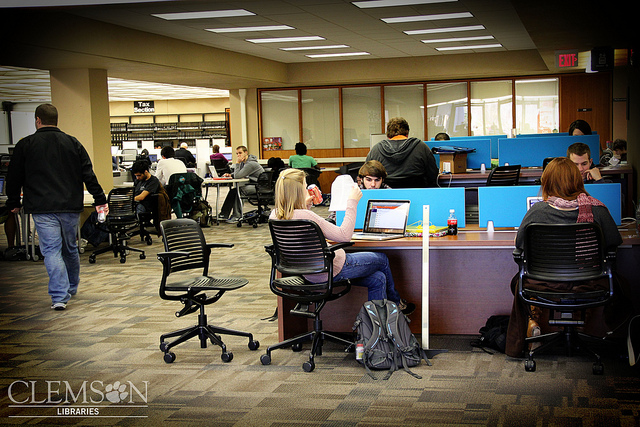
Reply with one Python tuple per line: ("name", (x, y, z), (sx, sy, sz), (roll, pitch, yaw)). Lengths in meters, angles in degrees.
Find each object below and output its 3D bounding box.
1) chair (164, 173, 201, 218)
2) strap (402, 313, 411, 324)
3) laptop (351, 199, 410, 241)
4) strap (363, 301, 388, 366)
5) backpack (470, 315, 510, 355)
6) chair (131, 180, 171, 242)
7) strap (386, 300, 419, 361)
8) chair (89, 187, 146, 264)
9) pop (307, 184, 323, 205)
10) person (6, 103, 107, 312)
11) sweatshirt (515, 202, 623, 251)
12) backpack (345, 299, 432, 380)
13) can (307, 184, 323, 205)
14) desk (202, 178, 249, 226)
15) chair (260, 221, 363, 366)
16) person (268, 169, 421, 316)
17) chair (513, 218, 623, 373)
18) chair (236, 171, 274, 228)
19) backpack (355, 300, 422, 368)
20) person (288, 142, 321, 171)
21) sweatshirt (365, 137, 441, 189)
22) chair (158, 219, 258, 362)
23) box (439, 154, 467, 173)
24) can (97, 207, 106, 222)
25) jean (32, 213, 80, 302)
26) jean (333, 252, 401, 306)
("chair", (-2.744, -0.371, 9.718), (0.750, 0.812, 0.358), (2, 6, -30))
("strap", (0.682, 0.813, 3.787), (0.020, 0.074, 0.052), (-42, 8, -18))
("laptop", (0.485, 0.066, 4.103), (0.432, 0.304, 0.448), (3, 11, 38))
("strap", (0.423, 0.914, 3.709), (0.186, 0.432, 0.204), (-1, 9, 7))
("backpack", (1.406, 0.995, 4.026), (0.296, 0.218, 0.307), (1, 9, 20))
("chair", (-3.300, -0.029, 8.750), (0.757, 1.013, 0.718), (-7, 8, -33))
("strap", (0.585, 0.915, 3.688), (0.410, 0.362, 0.276), (-2, -1, 4))
("chair", (-3.197, 0.160, 7.500), (0.824, 1.088, 0.830), (2, 7, 25))
("pop", (-0.049, -0.170, 4.310), (0.104, 0.180, 0.068), (-27, 1, 10))
("person", (-2.890, -0.089, 5.324), (0.976, 2.218, 0.610), (-6, 10, -23))
("sweatshirt", (1.879, 0.067, 3.674), (0.793, 0.296, 0.434), (0, 16, 26))
("backpack", (0.492, 0.945, 3.688), (0.553, 0.524, 0.198), (-2, -20, -7))
("can", (-0.044, -0.179, 4.302), (0.108, 0.183, 0.067), (-21, -6, 4))
("desk", (-2.250, -0.358, 10.720), (0.961, 0.664, 0.924), (9, -4, -12))
("chair", (-0.053, 0.592, 3.930), (0.774, 1.084, 0.815), (-5, -5, 37))
("person", (0.284, 0.302, 4.112), (1.329, 1.290, 0.707), (-5, 0, -28))
("chair", (1.941, 0.547, 3.705), (0.828, 1.028, 0.798), (-4, -3, 12))
("chair", (-1.357, -0.351, 10.567), (0.875, 1.128, 0.862), (-4, 0, 25))
("backpack", (0.500, 0.938, 3.774), (0.479, 0.461, 0.177), (-1, -15, -6))
("person", (-0.411, -1.383, 11.575), (0.621, 0.603, 1.107), (-2, 9, -2))
("sweatshirt", (1.145, -0.619, 6.635), (0.973, 0.866, 0.534), (-3, 23, 24))
("chair", (-1.025, 0.626, 4.130), (0.824, 1.087, 0.834), (1, 1, 18))
("box", (2.310, -0.949, 8.445), (0.571, 0.347, 0.316), (-6, 9, -44))
("can", (-2.501, 0.018, 5.554), (0.078, 0.184, 0.311), (-6, 10, -24))
("jean", (-2.874, 0.477, 5.386), (0.307, 1.006, 0.429), (1, 10, 23))
("jean", (0.395, 0.561, 3.948), (0.616, 0.492, 0.286), (-4, 9, -10))
